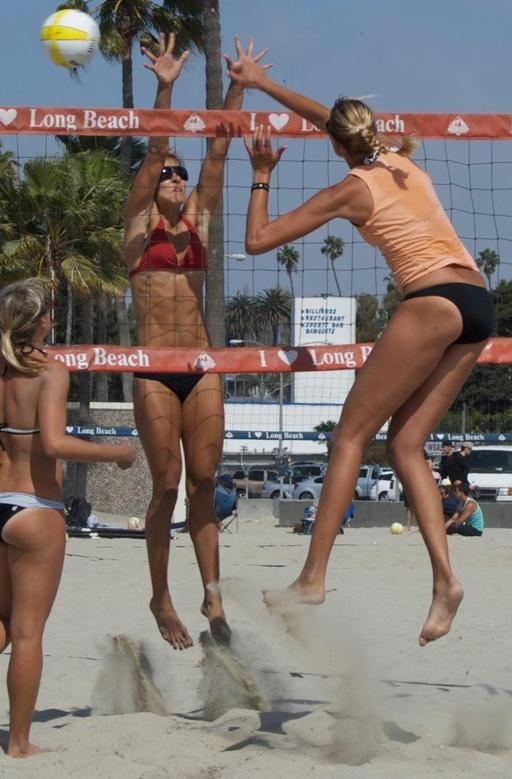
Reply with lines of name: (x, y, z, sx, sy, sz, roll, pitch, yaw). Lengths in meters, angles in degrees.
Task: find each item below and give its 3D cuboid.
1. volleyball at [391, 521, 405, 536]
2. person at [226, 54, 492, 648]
volleyball: (2.041, 2.040, 13.513, 0.199, 0.163, 0.177, -18, 28, -36)
person: (0.343, -0.061, 3.080, 0.821, 1.795, 0.365, 6, 7, 13)
